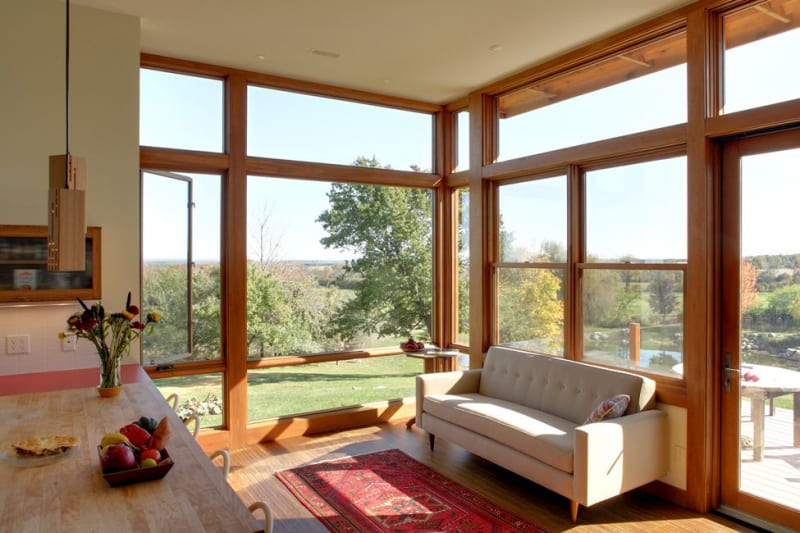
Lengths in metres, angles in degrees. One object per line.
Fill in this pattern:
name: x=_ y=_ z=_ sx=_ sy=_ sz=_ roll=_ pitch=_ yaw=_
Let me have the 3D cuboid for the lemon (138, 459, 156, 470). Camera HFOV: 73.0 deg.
lemon: x=-1.357 y=1.050 z=2.892 sx=0.067 sy=0.052 sz=0.054 roll=4 pitch=10 yaw=39

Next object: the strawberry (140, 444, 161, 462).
strawberry: x=-1.356 y=1.019 z=2.935 sx=0.075 sy=0.069 sz=0.070 roll=5 pitch=-18 yaw=-12

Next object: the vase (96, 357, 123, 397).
vase: x=-2.163 y=0.787 z=3.956 sx=0.201 sy=0.302 sz=0.187 roll=-5 pitch=-10 yaw=-14

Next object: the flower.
flower: x=-2.167 y=0.554 z=4.008 sx=0.658 sy=0.661 sz=0.729 roll=-2 pitch=-3 yaw=-1

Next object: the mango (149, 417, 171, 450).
mango: x=-1.363 y=0.950 z=3.085 sx=0.102 sy=0.176 sz=0.054 roll=6 pitch=-33 yaw=-11

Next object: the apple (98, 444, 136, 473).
apple: x=-1.508 y=1.009 z=2.898 sx=0.163 sy=0.138 sz=0.117 roll=-3 pitch=8 yaw=-29
